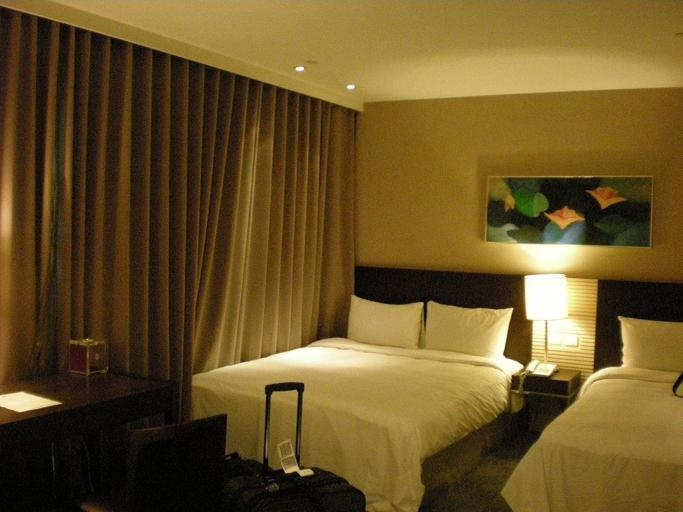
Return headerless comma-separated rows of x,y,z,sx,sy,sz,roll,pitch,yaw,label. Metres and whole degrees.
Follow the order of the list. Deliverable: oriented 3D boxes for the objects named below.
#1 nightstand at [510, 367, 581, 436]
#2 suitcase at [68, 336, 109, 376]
1.757,1.240,4.997,0.657,0.503,0.623,-8,8,-44,nightstand
-1.614,0.632,3.665,0.211,0.233,0.221,2,1,23,suitcase
